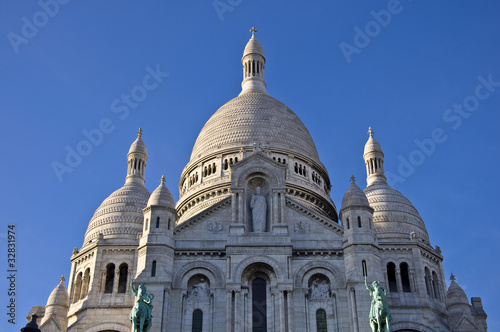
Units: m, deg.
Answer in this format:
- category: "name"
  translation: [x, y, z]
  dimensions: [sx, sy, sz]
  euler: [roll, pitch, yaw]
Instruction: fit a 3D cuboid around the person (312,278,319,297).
- category: "person"
  translation: [6.354, 11.807, 77.910]
  dimensions: [0.712, 1.837, 0.420]
  euler: [-4, -34, 5]
